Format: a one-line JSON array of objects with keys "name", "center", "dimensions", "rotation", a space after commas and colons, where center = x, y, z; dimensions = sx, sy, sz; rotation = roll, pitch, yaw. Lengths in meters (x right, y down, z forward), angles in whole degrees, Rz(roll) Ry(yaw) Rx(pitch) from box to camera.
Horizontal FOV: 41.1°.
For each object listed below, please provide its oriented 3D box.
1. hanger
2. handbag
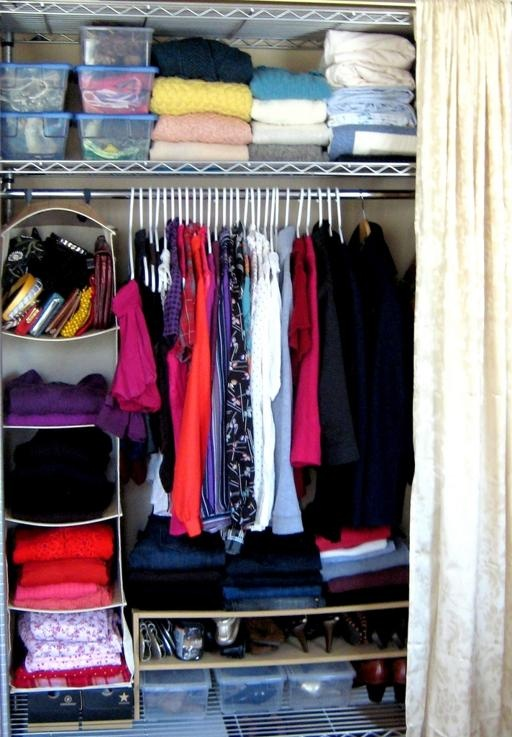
[{"name": "hanger", "center": [-0.035, -0.474, 2.415], "dimensions": [0.879, 0.364, 0.704], "rotation": [-1, 8, -12]}, {"name": "handbag", "center": [-0.624, -0.262, 2.074], "dimensions": [0.230, 0.417, 0.127], "rotation": [-1, -6, -4]}]
